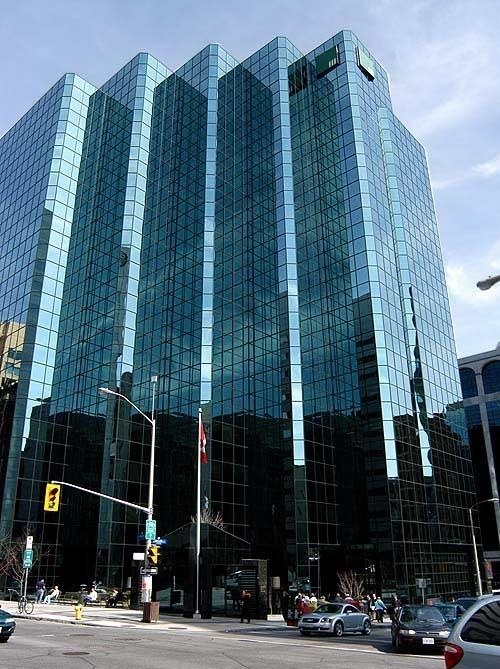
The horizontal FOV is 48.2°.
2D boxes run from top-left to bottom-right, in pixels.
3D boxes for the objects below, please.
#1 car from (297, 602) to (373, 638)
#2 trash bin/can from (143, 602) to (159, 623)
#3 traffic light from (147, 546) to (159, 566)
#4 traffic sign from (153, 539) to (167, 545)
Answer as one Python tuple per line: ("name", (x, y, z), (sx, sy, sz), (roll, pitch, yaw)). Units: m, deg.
("car", (3.578, 12.042, 23.622), (3.118, 1.087, 1.463), (30, -44, -34))
("trash bin/can", (-4.776, 13.313, 26.816), (0.689, 0.876, 0.773), (3, -21, -14))
("traffic light", (-4.617, 10.433, 26.434), (0.431, 1.112, 0.811), (-7, -20, 20))
("traffic sign", (-4.497, 10.349, 27.941), (0.614, 0.273, 1.236), (3, -21, -14))
